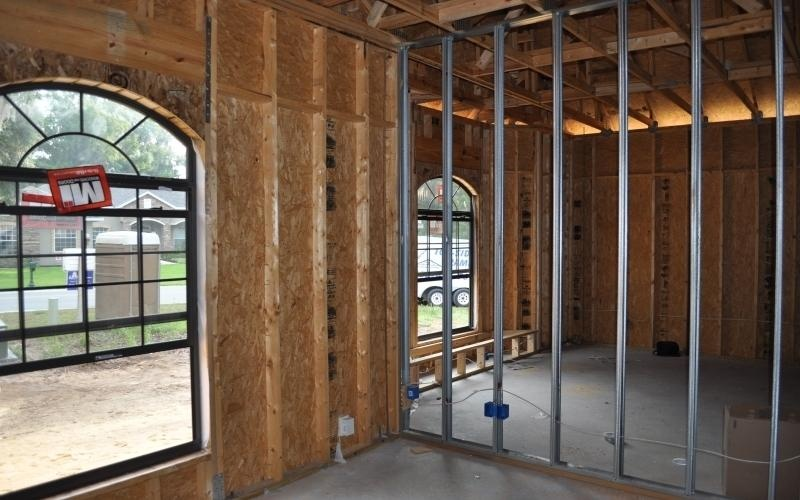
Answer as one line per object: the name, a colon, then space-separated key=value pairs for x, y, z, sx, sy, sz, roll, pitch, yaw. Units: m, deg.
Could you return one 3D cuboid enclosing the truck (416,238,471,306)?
truck: x=0.690 y=0.357 z=10.981 sx=0.228 sy=1.350 sz=2.224 roll=-12 pitch=-8 yaw=26
